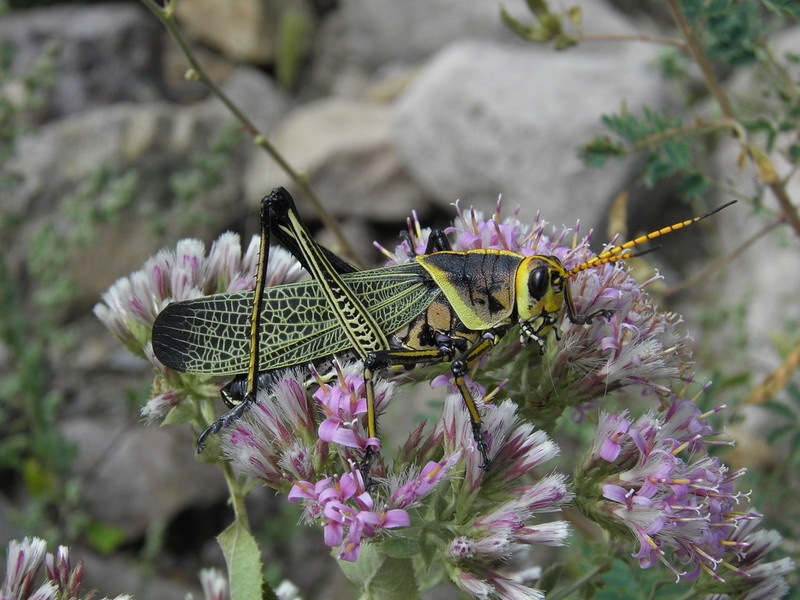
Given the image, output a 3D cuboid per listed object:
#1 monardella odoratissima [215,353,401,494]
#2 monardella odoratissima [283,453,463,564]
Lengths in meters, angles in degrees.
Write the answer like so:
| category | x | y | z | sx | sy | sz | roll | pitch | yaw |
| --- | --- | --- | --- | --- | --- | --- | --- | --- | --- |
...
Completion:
| category | x | y | z | sx | sy | sz | roll | pitch | yaw |
| --- | --- | --- | --- | --- | --- | --- | --- | --- | --- |
| monardella odoratissima | -0.387 | 0.555 | 4.112 | 0.633 | 0.243 | 0.528 | 5 | 38 | 3 |
| monardella odoratissima | -0.108 | 0.913 | 3.953 | 0.713 | 0.213 | 0.371 | -6 | 66 | -3 |
